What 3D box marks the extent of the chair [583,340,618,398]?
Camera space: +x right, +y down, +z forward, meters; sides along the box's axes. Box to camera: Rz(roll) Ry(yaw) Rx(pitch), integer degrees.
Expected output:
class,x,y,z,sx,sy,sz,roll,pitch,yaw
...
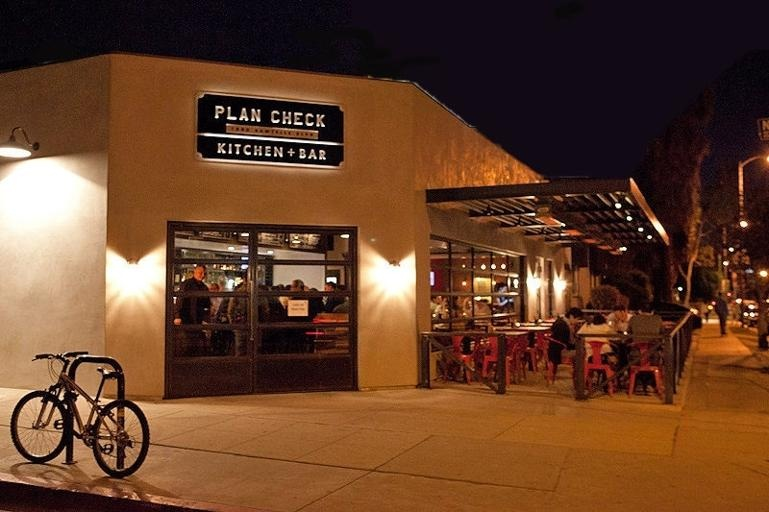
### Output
class,x,y,z,sx,sy,sz,roll,pitch,yaw
chair,4.559,2.316,12.507,0.626,1.147,1.978,0,0,21

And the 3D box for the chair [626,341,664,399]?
class,x,y,z,sx,sy,sz,roll,pitch,yaw
chair,5.361,2.075,12.053,0.602,0.855,0.652,-17,-28,36

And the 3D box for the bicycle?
class,x,y,z,sx,sy,sz,roll,pitch,yaw
bicycle,-4.173,2.192,8.244,2.485,1.503,1.046,-1,-8,21
